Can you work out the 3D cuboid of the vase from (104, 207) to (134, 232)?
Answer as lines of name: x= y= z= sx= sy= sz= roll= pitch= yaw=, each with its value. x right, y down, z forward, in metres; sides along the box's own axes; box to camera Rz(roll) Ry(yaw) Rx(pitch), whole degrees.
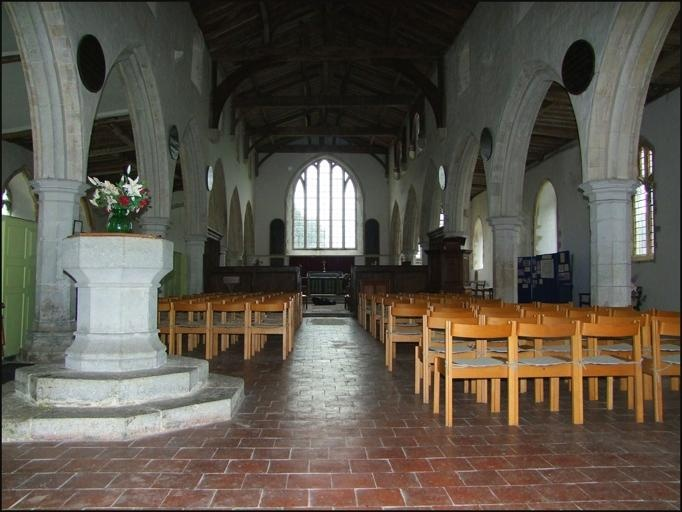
vase: x=-2.376 y=-0.365 z=6.080 sx=0.260 sy=0.263 sz=0.266 roll=1 pitch=-10 yaw=-12

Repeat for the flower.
flower: x=-2.411 y=-0.662 z=6.180 sx=0.574 sy=0.424 sz=0.630 roll=-3 pitch=9 yaw=-22
